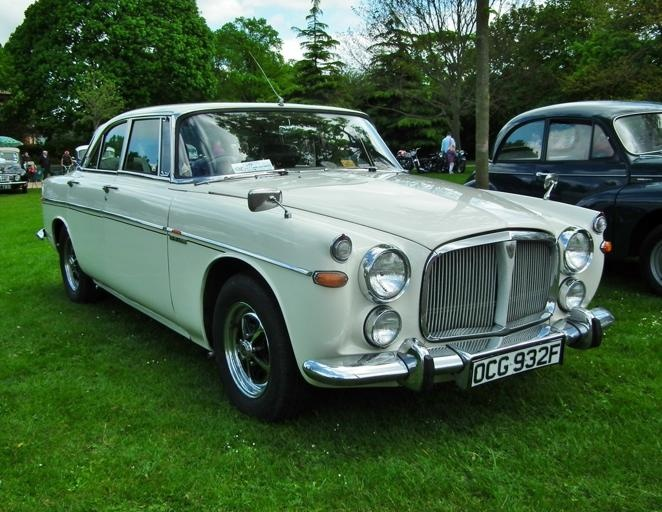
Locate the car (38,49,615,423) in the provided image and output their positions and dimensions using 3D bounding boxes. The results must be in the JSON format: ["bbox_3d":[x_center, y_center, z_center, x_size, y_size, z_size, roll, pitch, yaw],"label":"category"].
[{"bbox_3d":[-0.721,-0.224,4.463,2.264,1.683,4.943,-7,13,-43],"label":"car"}]

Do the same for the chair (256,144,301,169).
[{"bbox_3d":[-0.401,-0.787,4.136,0.260,0.144,0.233,-3,5,-31],"label":"chair"}]
